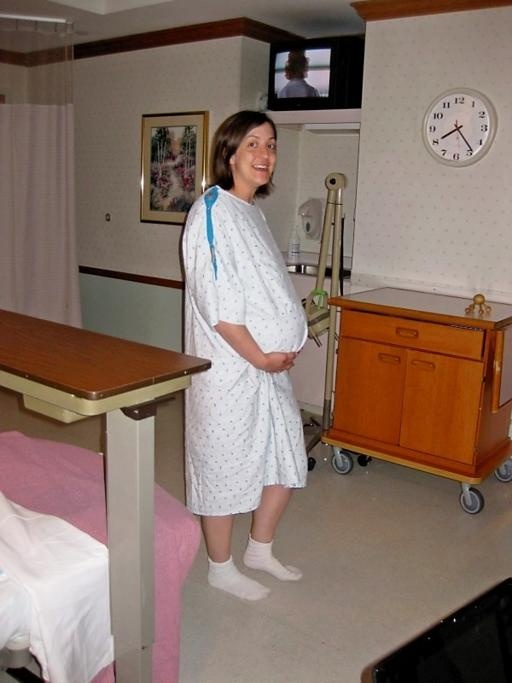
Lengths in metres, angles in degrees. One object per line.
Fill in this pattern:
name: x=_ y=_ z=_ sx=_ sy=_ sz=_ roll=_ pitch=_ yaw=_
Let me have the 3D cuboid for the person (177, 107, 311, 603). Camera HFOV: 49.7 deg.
person: x=-0.031 y=0.220 z=1.868 sx=0.445 sy=1.428 sz=0.335 roll=0 pitch=10 yaw=-10

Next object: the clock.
clock: x=1.105 y=-1.182 z=3.050 sx=0.380 sy=0.432 sz=0.048 roll=9 pitch=46 yaw=28

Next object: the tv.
tv: x=0.380 y=-1.788 z=3.739 sx=0.589 sy=0.454 sz=0.338 roll=11 pitch=24 yaw=25
